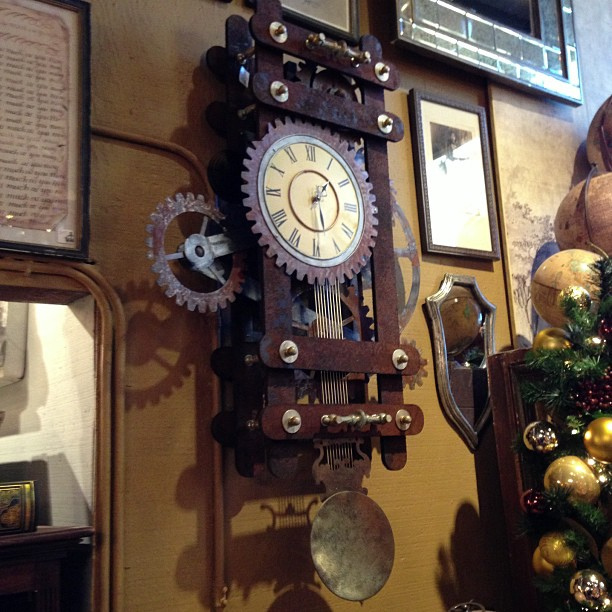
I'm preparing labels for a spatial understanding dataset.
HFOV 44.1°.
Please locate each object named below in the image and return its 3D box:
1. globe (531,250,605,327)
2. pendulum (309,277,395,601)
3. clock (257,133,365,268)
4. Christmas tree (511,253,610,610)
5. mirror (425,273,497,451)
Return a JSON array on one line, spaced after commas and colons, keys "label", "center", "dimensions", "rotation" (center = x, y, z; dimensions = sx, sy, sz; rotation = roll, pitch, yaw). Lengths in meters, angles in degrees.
[{"label": "globe", "center": [0.751, -0.055, 2.264], "dimensions": [0.172, 0.222, 0.219], "rotation": [3, 0, 4]}, {"label": "pendulum", "center": [0.081, 0.277, 1.841], "dimensions": [0.230, 0.921, 0.038], "rotation": [-5, 0, -8]}, {"label": "clock", "center": [0.015, -0.275, 1.934], "dimensions": [0.396, 0.403, 0.044], "rotation": [14, 32, 30]}, {"label": "Christmas tree", "center": [0.684, 0.365, 1.991], "dimensions": [0.264, 0.980, 0.491], "rotation": [5, 8, 16]}, {"label": "mirror", "center": [0.526, 0.179, 2.491], "dimensions": [0.276, 0.581, 0.050], "rotation": [-1, -8, -29]}]
